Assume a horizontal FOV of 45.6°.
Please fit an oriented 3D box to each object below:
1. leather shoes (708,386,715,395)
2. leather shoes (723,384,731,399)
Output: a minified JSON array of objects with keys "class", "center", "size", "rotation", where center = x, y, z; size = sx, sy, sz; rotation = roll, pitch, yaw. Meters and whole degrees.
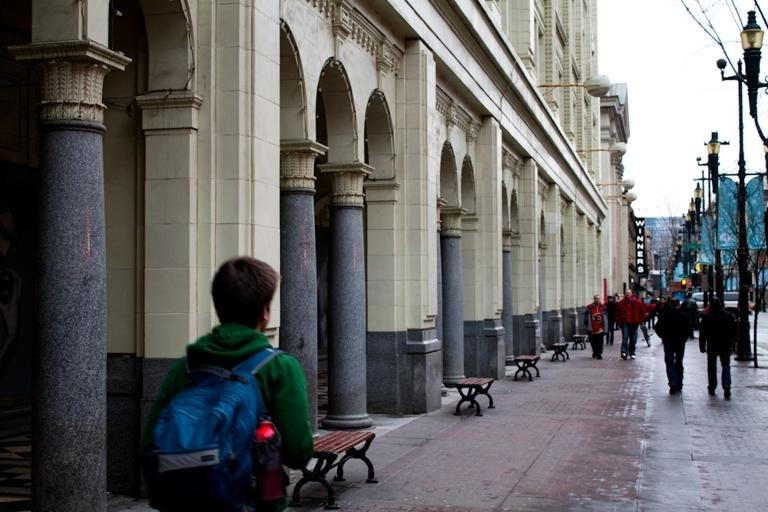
[{"class":"leather shoes","center":[7.290,3.001,20.189],"size":[0.147,0.166,0.155],"rotation":[0,0,35]},{"class":"leather shoes","center":[7.345,2.902,19.418],"size":[0.152,0.294,0.454],"rotation":[-3,-5,18]}]
